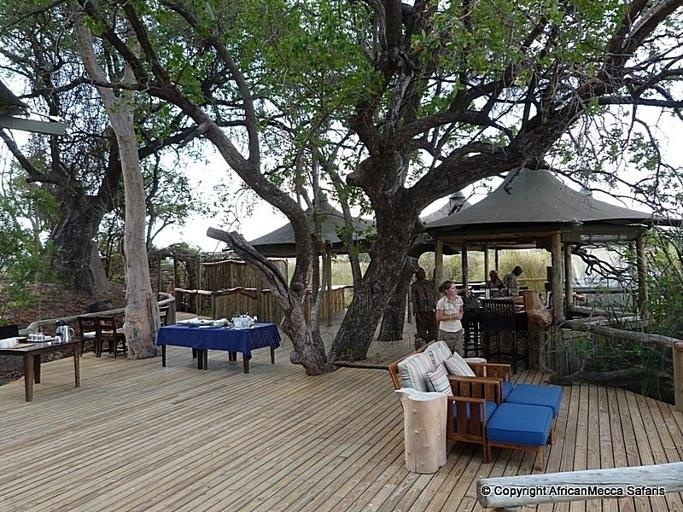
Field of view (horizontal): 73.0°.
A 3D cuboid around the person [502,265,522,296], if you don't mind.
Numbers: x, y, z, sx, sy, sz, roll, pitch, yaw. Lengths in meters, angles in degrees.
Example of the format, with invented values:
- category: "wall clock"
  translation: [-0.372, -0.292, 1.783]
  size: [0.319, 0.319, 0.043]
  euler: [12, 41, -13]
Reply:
- category: "person"
  translation: [5.840, 0.814, 15.787]
  size: [0.459, 1.412, 0.584]
  euler: [-6, 16, -21]

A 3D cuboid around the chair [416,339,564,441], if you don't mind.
- category: "chair"
  translation: [2.139, 1.584, 6.344]
  size: [1.332, 0.916, 1.452]
  euler: [-4, -2, 32]

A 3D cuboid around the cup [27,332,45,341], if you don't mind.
- category: "cup"
  translation: [-6.133, 1.628, 9.321]
  size: [0.179, 0.099, 0.249]
  euler: [2, -5, -21]

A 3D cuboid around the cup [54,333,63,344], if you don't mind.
- category: "cup"
  translation: [-5.683, 1.656, 9.311]
  size: [0.120, 0.131, 0.127]
  euler: [1, -1, 0]

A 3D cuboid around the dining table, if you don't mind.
- category: "dining table"
  translation: [-6.012, 2.050, 9.376]
  size: [1.349, 1.161, 1.370]
  euler: [-4, -8, 21]

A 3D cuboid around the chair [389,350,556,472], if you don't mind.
- category: "chair"
  translation: [2.072, 2.273, 6.274]
  size: [1.520, 0.936, 1.645]
  euler: [-2, -1, 26]

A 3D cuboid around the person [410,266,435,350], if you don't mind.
- category: "person"
  translation: [2.171, 1.285, 12.167]
  size: [0.652, 1.977, 0.599]
  euler: [-1, 3, 10]

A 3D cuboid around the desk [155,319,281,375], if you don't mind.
- category: "desk"
  translation: [-2.892, 2.124, 11.015]
  size: [2.551, 1.045, 1.162]
  euler: [-1, 2, 16]
